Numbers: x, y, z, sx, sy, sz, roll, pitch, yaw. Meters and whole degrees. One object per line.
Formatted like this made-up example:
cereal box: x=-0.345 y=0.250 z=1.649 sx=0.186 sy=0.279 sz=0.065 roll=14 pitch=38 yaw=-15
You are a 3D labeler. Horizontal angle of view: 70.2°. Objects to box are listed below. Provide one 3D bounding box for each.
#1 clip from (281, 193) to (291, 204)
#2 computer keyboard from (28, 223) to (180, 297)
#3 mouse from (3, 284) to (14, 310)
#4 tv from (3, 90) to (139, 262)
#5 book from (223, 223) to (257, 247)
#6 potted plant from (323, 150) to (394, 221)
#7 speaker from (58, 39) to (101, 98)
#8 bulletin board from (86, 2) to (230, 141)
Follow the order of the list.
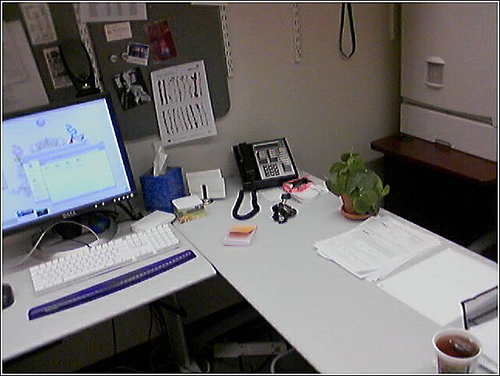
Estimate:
clip: x=0.160 y=0.050 z=1.571 sx=0.035 sy=0.047 sz=0.119 roll=-3 pitch=5 yaw=3
computer keyboard: x=-0.516 y=0.252 z=1.284 sx=0.502 sy=0.045 sz=0.138 roll=-18 pitch=29 yaw=-19
mouse: x=-0.803 y=0.357 z=1.170 sx=0.044 sy=0.012 sz=0.065 roll=-7 pitch=57 yaw=-30
tv: x=-0.698 y=-0.035 z=1.342 sx=0.478 sy=0.473 sz=0.261 roll=-28 pitch=30 yaw=-31
book: x=-0.039 y=0.176 z=1.341 sx=0.107 sy=0.023 sz=0.118 roll=-1 pitch=28 yaw=12
potted plant: x=0.414 y=-0.019 z=1.403 sx=0.235 sy=0.228 sz=0.229 roll=-19 pitch=18 yaw=-15
speaker: x=-0.684 y=-0.484 z=1.428 sx=0.131 sy=0.250 sz=0.073 roll=-22 pitch=27 yaw=-22
bulletin board: x=-0.361 y=-0.433 z=1.532 sx=0.561 sy=0.585 sz=0.130 roll=-18 pitch=26 yaw=-24
